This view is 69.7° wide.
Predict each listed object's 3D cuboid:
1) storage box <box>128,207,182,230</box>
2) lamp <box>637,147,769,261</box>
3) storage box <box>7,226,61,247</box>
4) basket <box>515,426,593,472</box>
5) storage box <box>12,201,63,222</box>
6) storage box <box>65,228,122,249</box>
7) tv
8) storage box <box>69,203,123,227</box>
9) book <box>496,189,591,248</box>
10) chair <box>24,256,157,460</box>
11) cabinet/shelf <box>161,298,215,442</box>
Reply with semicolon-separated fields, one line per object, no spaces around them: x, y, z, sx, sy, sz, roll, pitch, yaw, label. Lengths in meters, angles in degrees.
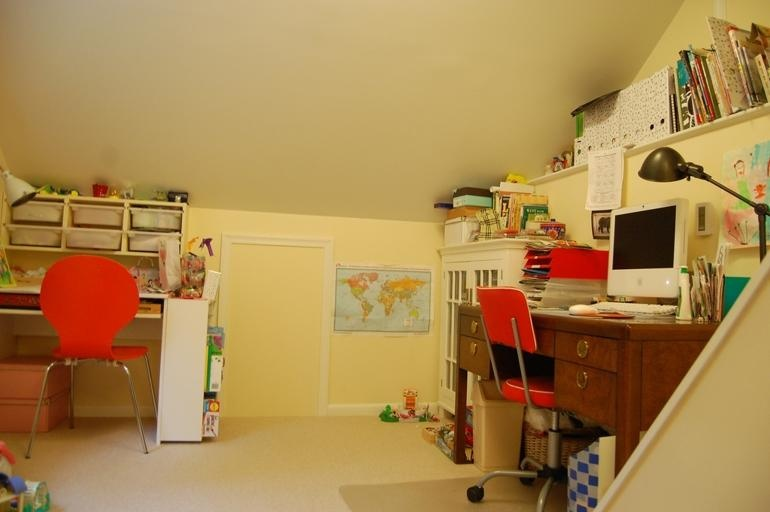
-1.635;-0.243;3.928;0.257;0.099;0.178;1;-2;-25;storage box
1.591;-0.269;2.665;0.523;0.482;0.508;6;6;41;lamp
-2.445;-0.128;3.823;0.244;0.094;0.168;0;-1;-22;storage box
1.006;1.158;3.275;0.332;0.147;0.400;3;-19;7;basket
-2.403;-0.296;3.809;0.259;0.100;0.174;-1;-2;-15;storage box
-2.061;-0.110;3.850;0.260;0.092;0.176;0;-1;-13;storage box
1.377;-0.026;2.834;0.077;0.657;0.537;4;0;-28;tv
-2.024;-0.274;3.863;0.257;0.100;0.179;0;-1;-19;storage box
1.050;-0.295;3.915;0.517;0.343;0.472;3;5;9;book
-1.830;0.589;3.445;0.733;1.219;0.694;-1;6;-31;chair
-1.316;0.736;3.565;0.300;0.915;0.171;0;5;-17;cabinet/shelf
